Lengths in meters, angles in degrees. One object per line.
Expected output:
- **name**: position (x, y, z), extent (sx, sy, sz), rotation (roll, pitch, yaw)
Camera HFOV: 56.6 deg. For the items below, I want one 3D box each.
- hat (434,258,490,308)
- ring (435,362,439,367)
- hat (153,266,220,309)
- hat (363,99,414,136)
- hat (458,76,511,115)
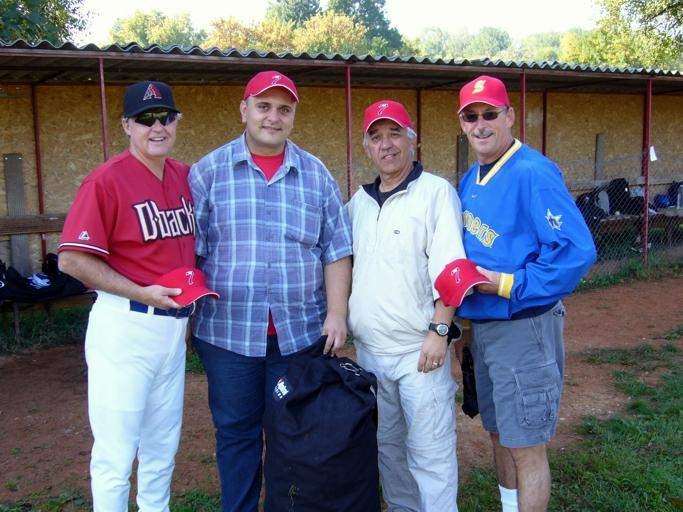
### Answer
- **hat**: position (0.760, 0.204, 4.161), extent (0.296, 0.355, 0.281), rotation (-6, 12, -21)
- **ring**: position (0.634, 0.730, 4.281), extent (0.021, 0.032, 0.008), rotation (-2, 8, -1)
- **hat**: position (-1.016, 0.158, 4.107), extent (0.293, 0.197, 0.433), rotation (-9, 25, -40)
- **hat**: position (0.301, -1.005, 4.573), extent (0.354, 0.247, 0.509), rotation (-5, -1, 7)
- **hat**: position (0.984, -1.124, 4.437), extent (0.336, 0.266, 0.468), rotation (1, 4, 22)
